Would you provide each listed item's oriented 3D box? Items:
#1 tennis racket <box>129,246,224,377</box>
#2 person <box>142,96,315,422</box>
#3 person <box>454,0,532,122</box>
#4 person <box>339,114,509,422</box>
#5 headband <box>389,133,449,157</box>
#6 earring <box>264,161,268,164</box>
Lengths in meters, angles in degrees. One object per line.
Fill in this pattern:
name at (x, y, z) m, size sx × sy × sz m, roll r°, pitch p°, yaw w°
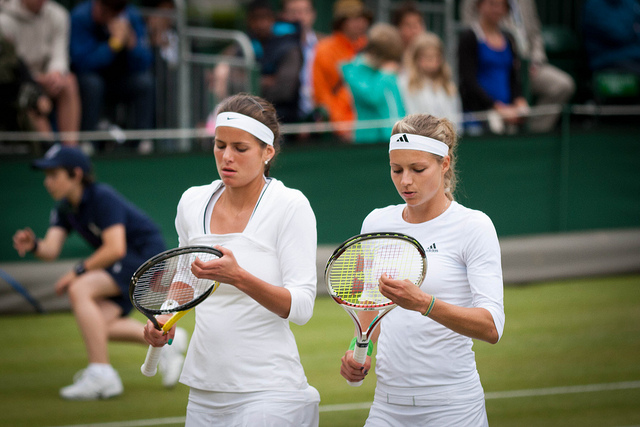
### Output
tennis racket at (-1.039, 0.589, 6.455) m, size 0.559 × 0.911 × 0.169 m, roll 8°, pitch 13°, yaw 0°
person at (-0.589, 0.316, 6.375) m, size 1.058 × 2.204 × 0.695 m, roll -2°, pitch 10°, yaw -2°
person at (1.915, -1.596, 10.224) m, size 0.834 × 1.397 × 3.200 m, roll 0°, pitch 11°, yaw 9°
person at (0.694, 0.396, 6.427) m, size 1.051 × 2.123 × 0.814 m, roll -1°, pitch 10°, yaw 1°
headband at (0.677, -0.479, 6.431) m, size 0.403 × 0.169 × 0.141 m, roll 0°, pitch 10°, yaw 4°
earring at (-0.381, -0.366, 6.523) m, size 0.020 × 0.022 × 0.005 m, roll 0°, pitch -3°, yaw 19°
